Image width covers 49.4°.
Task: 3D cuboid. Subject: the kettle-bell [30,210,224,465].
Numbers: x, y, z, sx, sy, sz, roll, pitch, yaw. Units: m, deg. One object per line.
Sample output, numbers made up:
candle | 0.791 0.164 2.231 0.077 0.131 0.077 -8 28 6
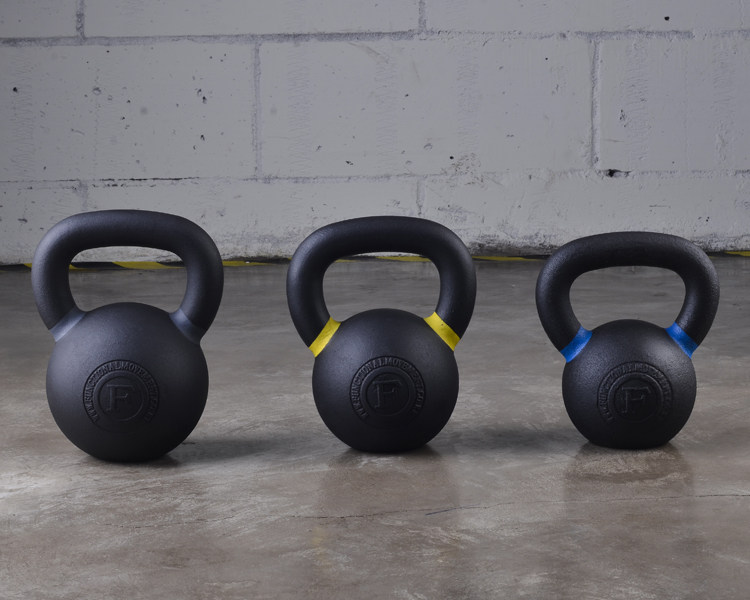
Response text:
kettle-bell | -0.511 0.068 1.619 0.353 0.492 0.241 2 10 18

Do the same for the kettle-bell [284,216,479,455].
kettle-bell | 0.011 0.076 1.694 0.381 0.492 0.286 -3 5 -5

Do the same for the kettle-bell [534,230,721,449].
kettle-bell | 0.503 0.082 1.637 0.354 0.429 0.168 2 9 14
